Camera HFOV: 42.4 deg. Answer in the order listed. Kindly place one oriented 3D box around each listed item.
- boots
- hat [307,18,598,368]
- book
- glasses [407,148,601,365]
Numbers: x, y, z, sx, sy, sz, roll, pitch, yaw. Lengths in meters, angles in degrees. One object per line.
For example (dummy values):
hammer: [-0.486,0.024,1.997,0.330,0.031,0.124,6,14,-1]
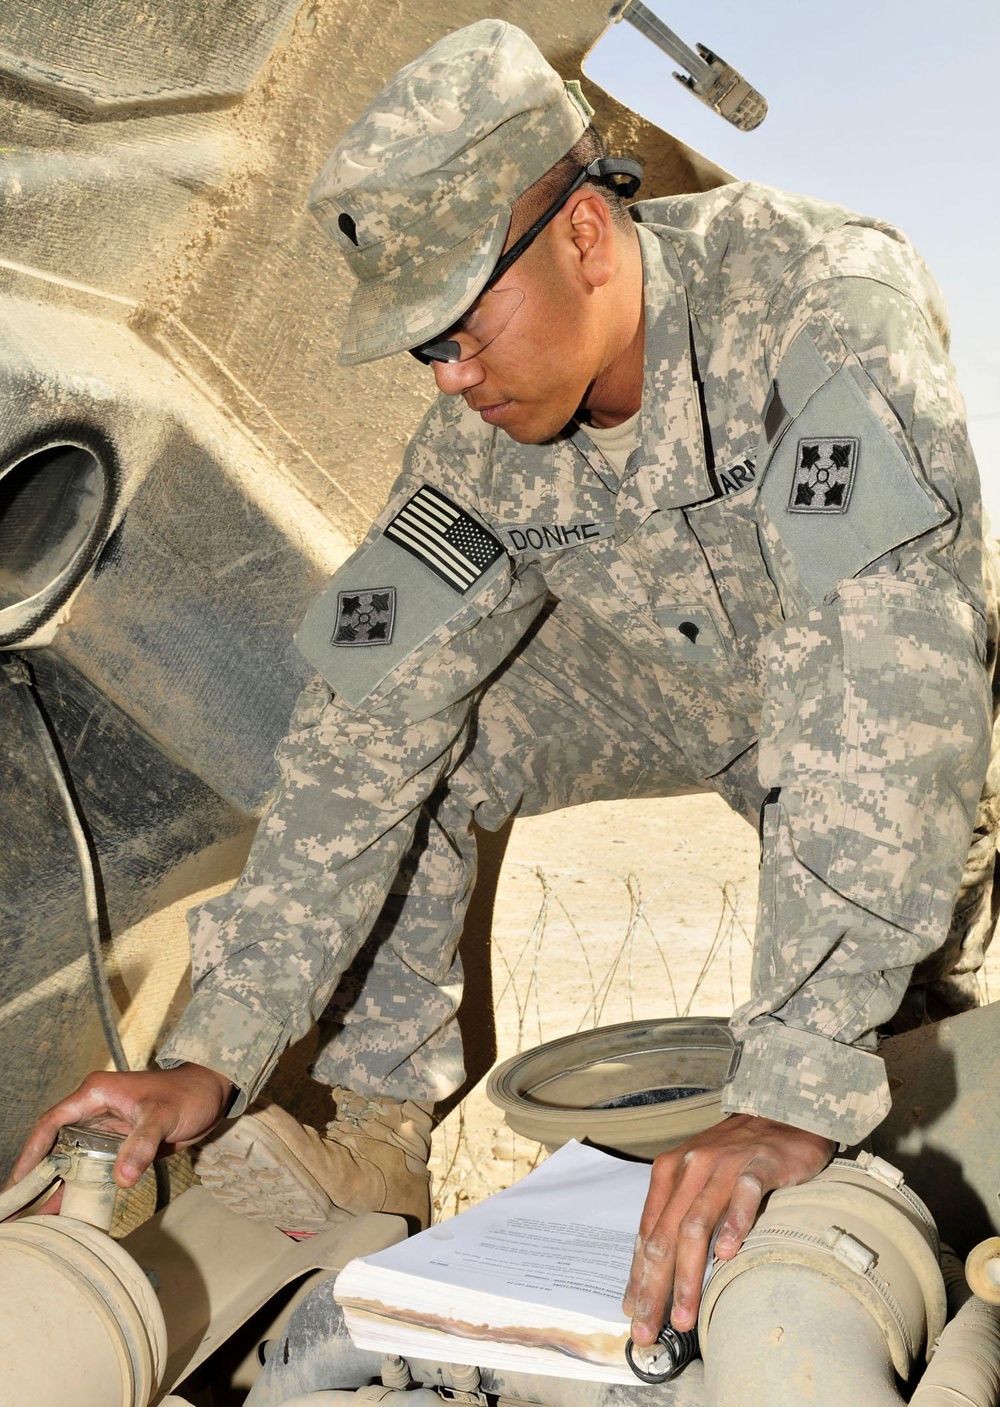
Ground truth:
boots: [-0.234,0.619,1.746,0.345,0.128,0.234,45,26,-33]
hat: [-0.075,-0.555,1.383,0.212,0.360,0.208,30,8,-10]
book: [0.030,0.396,1.023,0.209,0.065,0.214,0,6,43]
glasses: [0.055,-0.469,1.438,0.082,0.248,0.189,33,8,-43]
